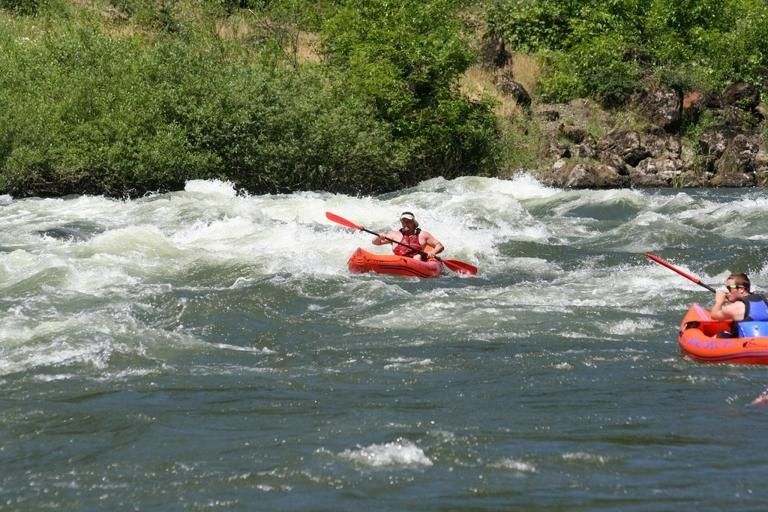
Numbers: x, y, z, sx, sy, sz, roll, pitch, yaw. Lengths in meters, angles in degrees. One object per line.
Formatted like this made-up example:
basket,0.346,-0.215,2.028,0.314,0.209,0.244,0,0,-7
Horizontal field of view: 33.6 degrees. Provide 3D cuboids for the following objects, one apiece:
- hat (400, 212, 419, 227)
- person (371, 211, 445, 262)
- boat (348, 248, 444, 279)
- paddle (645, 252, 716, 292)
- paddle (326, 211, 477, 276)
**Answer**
hat,0.617,-0.897,30.438,0.339,0.203,0.417,3,-25,19
person,0.624,-0.156,30.307,1.712,1.766,1.111,-1,-8,-15
boat,0.166,0.214,29.283,1.698,0.461,0.847,2,4,-15
paddle,6.754,0.417,28.895,1.766,0.135,0.125,26,27,15
paddle,0.189,-0.380,31.673,0.242,0.373,4.227,24,1,44
